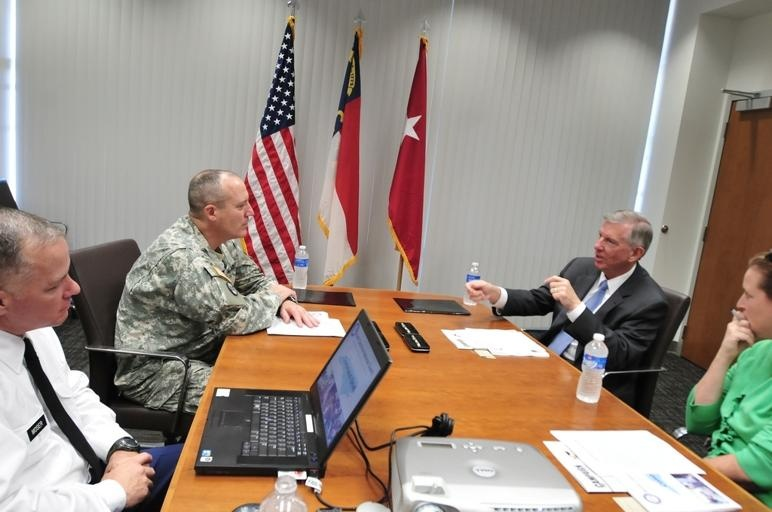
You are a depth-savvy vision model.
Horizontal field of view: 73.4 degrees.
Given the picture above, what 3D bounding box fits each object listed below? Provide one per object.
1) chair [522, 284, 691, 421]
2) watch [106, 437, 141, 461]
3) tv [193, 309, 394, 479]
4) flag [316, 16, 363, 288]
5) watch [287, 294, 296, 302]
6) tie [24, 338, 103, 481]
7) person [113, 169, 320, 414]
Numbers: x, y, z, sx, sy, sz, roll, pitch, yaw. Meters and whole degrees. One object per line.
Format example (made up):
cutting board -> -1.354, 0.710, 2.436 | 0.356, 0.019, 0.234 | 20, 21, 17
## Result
chair -> 1.493, 0.520, 3.275 | 0.612, 1.044, 0.647 | 12, 3, -2
watch -> -1.028, 0.753, 2.042 | 0.106, 0.102, 0.073 | 9, 26, -16
tv -> -0.321, 0.527, 1.850 | 0.579, 0.408, 0.539 | 9, 16, -12
flag -> -0.357, -0.791, 4.238 | 0.275, 2.011, 0.618 | 12, 21, 34
watch -> -0.514, 0.236, 2.847 | 0.041, 0.025, 0.042 | 6, -25, -28
tie -> -1.244, 0.609, 1.989 | 0.079, 0.584, 0.070 | -10, 20, 16
person -> -0.795, 0.056, 3.203 | 1.221, 1.655, 0.930 | 0, 12, -10
